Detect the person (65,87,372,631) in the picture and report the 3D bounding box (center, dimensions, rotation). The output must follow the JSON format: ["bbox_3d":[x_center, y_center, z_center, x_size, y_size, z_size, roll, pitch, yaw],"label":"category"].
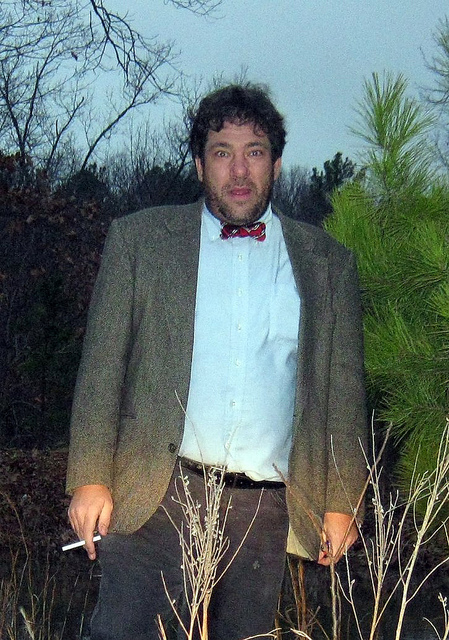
[{"bbox_3d":[0.021,0.069,1.751,0.785,1.450,0.399,6,-4,-15],"label":"person"}]

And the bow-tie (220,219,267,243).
[{"bbox_3d":[0.050,-0.235,1.818,0.124,0.060,0.059,4,-4,1],"label":"bow-tie"}]
